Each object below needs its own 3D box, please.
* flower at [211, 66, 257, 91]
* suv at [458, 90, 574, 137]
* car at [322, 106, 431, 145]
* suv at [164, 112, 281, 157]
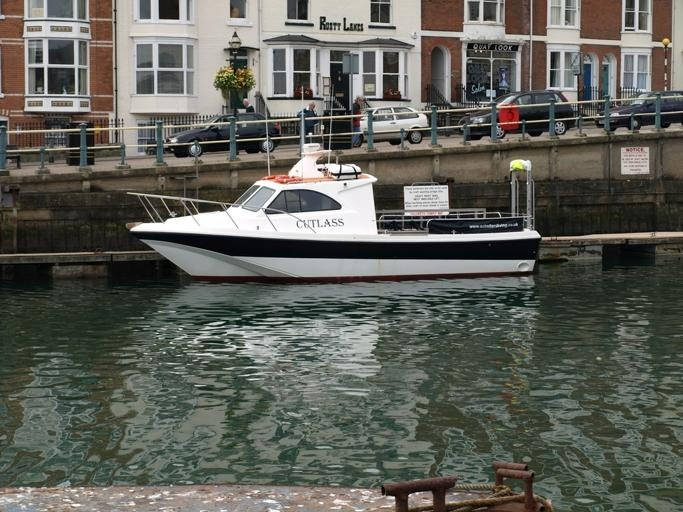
[{"bbox_3d":[-4.123,-6.868,49.143,1.311,0.653,1.175,0,9,-2],"label":"flower"},{"bbox_3d":[6.569,-5.173,45.241,4.701,1.372,1.968,-2,3,-29],"label":"suv"},{"bbox_3d":[1.732,-4.647,44.975,2.940,0.922,1.426,0,4,-13],"label":"car"},{"bbox_3d":[-3.950,-4.242,43.419,4.202,1.219,1.851,0,2,-16],"label":"suv"}]
